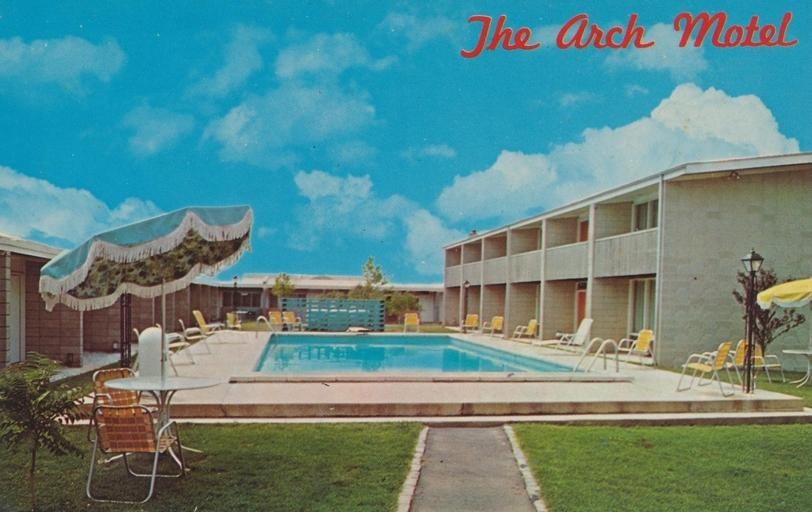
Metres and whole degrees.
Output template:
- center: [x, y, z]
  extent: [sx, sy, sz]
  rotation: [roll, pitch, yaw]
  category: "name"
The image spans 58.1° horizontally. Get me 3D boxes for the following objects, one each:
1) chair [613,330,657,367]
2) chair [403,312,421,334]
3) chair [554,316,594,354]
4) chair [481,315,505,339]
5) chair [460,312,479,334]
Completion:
- center: [8.970, 3.583, 28.560]
  extent: [1.416, 1.287, 1.109]
  rotation: [-4, -2, -12]
  category: "chair"
- center: [0.456, 3.630, 39.497]
  extent: [1.058, 1.391, 1.014]
  rotation: [0, -6, -3]
  category: "chair"
- center: [7.542, 3.409, 31.613]
  extent: [1.562, 2.094, 1.444]
  rotation: [0, -2, -16]
  category: "chair"
- center: [4.746, 3.908, 39.766]
  extent: [1.035, 1.195, 1.048]
  rotation: [0, -3, -43]
  category: "chair"
- center: [3.517, 3.775, 41.200]
  extent: [0.851, 1.234, 1.177]
  rotation: [-2, -6, 21]
  category: "chair"
